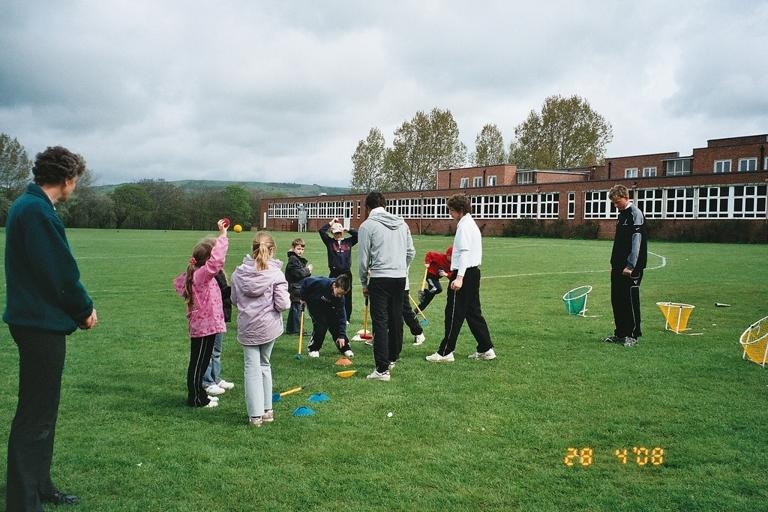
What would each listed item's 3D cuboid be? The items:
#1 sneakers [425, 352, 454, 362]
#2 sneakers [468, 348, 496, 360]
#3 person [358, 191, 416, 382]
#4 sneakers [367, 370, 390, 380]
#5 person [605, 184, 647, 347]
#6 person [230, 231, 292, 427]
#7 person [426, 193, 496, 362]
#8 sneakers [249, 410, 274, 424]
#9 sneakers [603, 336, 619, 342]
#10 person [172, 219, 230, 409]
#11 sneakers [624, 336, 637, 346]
[{"bbox_3d":[0.880,1.509,9.824,0.386,0.188,0.159,2,-5,6],"label":"sneakers"},{"bbox_3d":[1.528,1.494,9.921,0.392,0.175,0.161,1,-3,14],"label":"sneakers"},{"bbox_3d":[0.078,0.393,9.237,0.542,2.613,0.827,2,5,33],"label":"person"},{"bbox_3d":[-0.019,1.661,9.090,0.289,0.126,0.134,2,-1,6],"label":"sneakers"},{"bbox_3d":[3.955,0.133,10.690,0.558,2.568,0.780,1,5,19],"label":"person"},{"bbox_3d":[-1.406,0.866,7.936,0.688,2.270,0.575,-2,5,-13],"label":"person"},{"bbox_3d":[1.251,0.320,9.792,0.915,2.506,1.028,0,5,9],"label":"person"},{"bbox_3d":[-1.415,1.938,7.846,0.125,0.129,0.277,2,-1,-36],"label":"sneakers"},{"bbox_3d":[3.752,1.372,10.777,0.089,0.099,0.227,3,-1,-29],"label":"sneakers"},{"bbox_3d":[-2.096,0.732,8.101,0.611,2.355,0.336,0,5,2],"label":"person"},{"bbox_3d":[3.963,1.376,10.536,0.090,0.109,0.265,4,6,43],"label":"sneakers"}]
